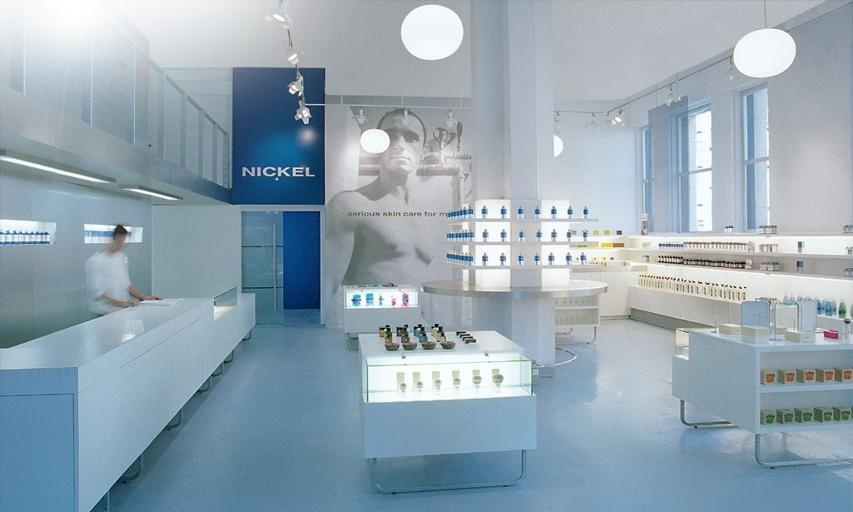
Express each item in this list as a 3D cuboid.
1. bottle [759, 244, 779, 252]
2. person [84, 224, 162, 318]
[{"bbox_3d":[6.784,-0.140,10.942,0.163,0.129,0.279,-1,1,-26],"label":"bottle"},{"bbox_3d":[-4.906,0.240,8.672,0.704,1.413,0.980,-1,2,-37],"label":"person"}]
